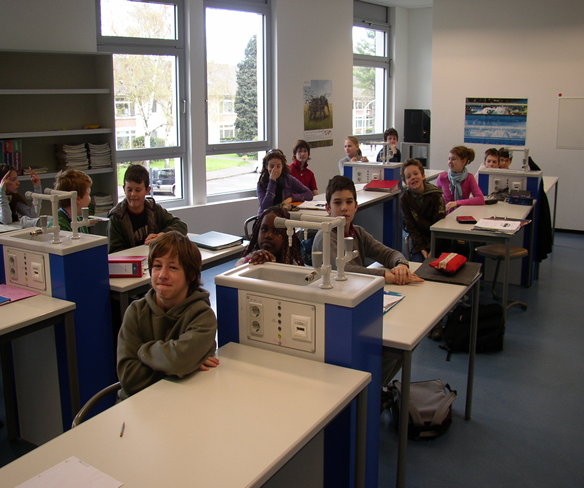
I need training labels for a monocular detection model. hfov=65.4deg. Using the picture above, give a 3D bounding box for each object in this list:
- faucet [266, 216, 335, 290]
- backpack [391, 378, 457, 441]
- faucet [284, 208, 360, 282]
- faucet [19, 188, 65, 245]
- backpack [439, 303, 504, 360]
[{"bbox_3d":[0.042,0.013,1.679,0.219,0.320,0.213,3,8,15],"label":"faucet"},{"bbox_3d":[0.819,0.976,2.757,0.319,0.245,0.447,-2,8,7],"label":"backpack"},{"bbox_3d":[0.101,-0.009,1.666,0.219,0.301,0.296,6,13,24],"label":"faucet"},{"bbox_3d":[-1.301,-0.142,2.416,0.168,0.287,0.366,-9,16,-33],"label":"faucet"},{"bbox_3d":[1.478,0.706,3.768,0.433,0.497,0.344,3,3,17],"label":"backpack"}]
